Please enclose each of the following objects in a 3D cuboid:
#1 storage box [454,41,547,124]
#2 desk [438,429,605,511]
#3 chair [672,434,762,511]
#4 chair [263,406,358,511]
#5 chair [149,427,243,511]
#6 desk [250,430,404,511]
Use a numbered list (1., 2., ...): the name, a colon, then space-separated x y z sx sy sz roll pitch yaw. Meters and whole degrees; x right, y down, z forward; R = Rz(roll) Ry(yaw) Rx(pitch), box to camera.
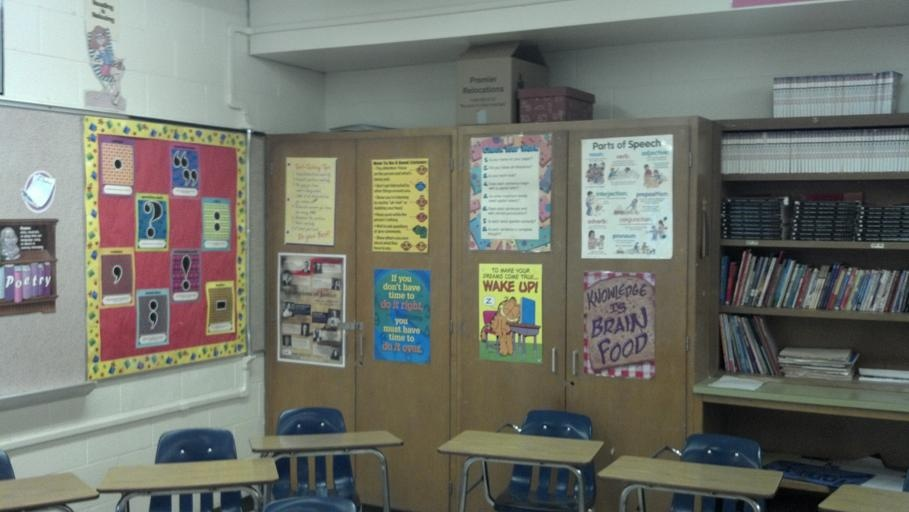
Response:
1. storage box: 0.437 -1.589 6.452 0.553 0.691 0.754 -13 17 -36
2. desk: 0.538 1.702 5.461 1.106 0.657 0.835 2 6 16
3. chair: 1.964 1.651 5.590 0.665 0.838 0.651 -2 -12 24
4. chair: -1.036 1.658 5.884 0.744 0.891 0.739 1 -18 -9
5. chair: -1.903 1.673 5.661 0.616 0.791 0.723 1 -9 -10
6. desk: -1.017 1.839 5.477 1.084 0.720 0.769 1 -12 -8
